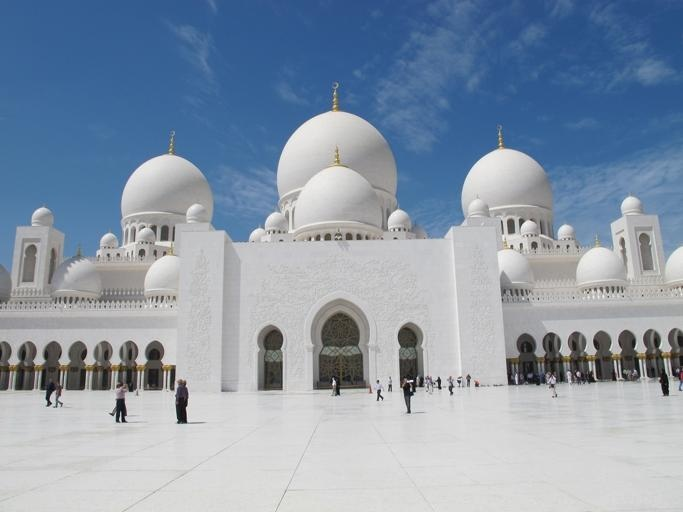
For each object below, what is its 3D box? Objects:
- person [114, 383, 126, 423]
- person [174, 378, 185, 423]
[{"bbox_3d":[-5.131,3.465,12.498,0.233,0.851,0.892,4,-15,-23],"label":"person"},{"bbox_3d":[-3.621,3.333,12.178,0.199,0.958,0.687,2,-14,-16],"label":"person"}]
